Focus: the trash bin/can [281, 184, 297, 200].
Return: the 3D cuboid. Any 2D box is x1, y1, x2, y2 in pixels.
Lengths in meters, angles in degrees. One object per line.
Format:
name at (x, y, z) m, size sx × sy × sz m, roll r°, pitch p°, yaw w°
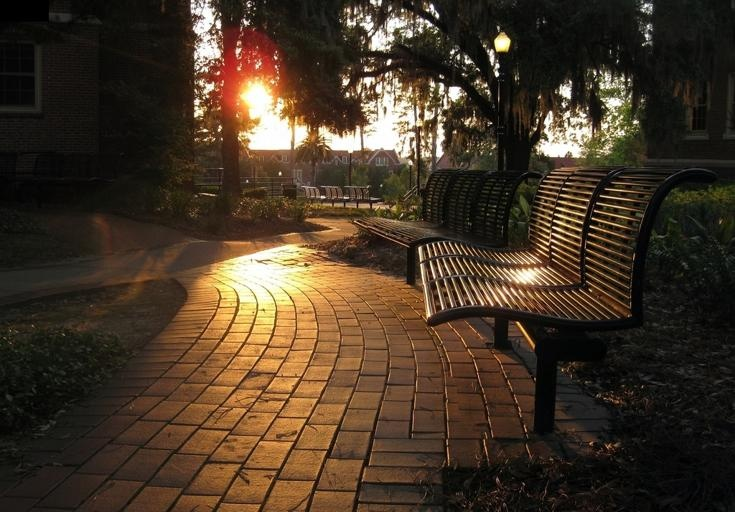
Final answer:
trash bin/can at (-3.591, -2.963, 25.544) m, size 0.520 × 0.542 × 1.385 m, roll -3°, pitch 13°, yaw -13°
